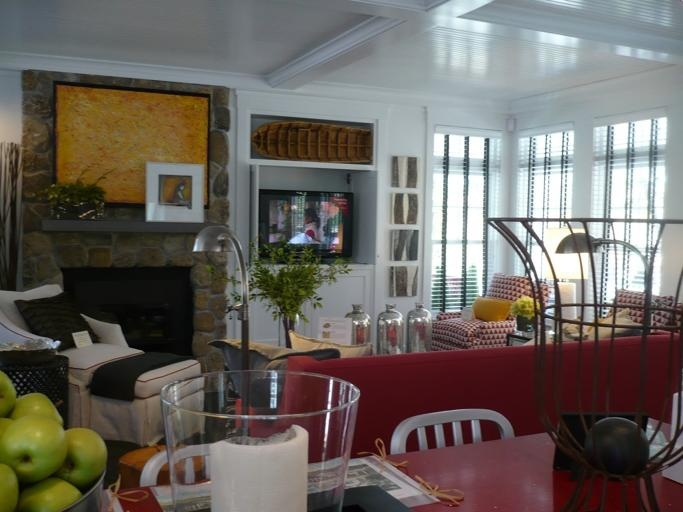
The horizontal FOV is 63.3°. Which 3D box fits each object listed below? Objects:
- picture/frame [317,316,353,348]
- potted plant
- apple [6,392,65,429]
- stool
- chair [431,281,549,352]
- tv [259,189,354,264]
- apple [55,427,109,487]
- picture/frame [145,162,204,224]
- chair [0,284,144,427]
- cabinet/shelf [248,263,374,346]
[{"bbox_3d":[-0.038,0.527,3.851,0.270,0.224,0.027,0,-5,-3],"label":"picture/frame"},{"bbox_3d":[-2.436,-0.525,5.106,0.583,0.353,0.448,-1,1,-34],"label":"potted plant"},{"bbox_3d":[-0.456,0.224,0.826,0.076,0.057,0.059,24,-16,-30],"label":"apple"},{"bbox_3d":[-1.363,0.979,3.929,0.860,0.415,0.773,1,-1,4],"label":"stool"},{"bbox_3d":[1.477,0.694,5.958,0.918,0.679,0.643,-6,23,-25],"label":"chair"},{"bbox_3d":[-0.434,-0.376,6.560,1.395,0.785,0.137,-2,5,-41],"label":"tv"},{"bbox_3d":[-0.373,0.294,0.796,0.071,0.064,0.068,13,-20,-7],"label":"apple"},{"bbox_3d":[-1.651,-0.622,5.410,0.734,0.642,0.030,-1,4,-19],"label":"picture/frame"},{"bbox_3d":[-2.036,0.644,4.310,1.254,1.000,0.840,0,0,19],"label":"chair"},{"bbox_3d":[-0.321,0.445,4.984,1.129,0.870,0.393,0,5,-7],"label":"cabinet/shelf"}]
